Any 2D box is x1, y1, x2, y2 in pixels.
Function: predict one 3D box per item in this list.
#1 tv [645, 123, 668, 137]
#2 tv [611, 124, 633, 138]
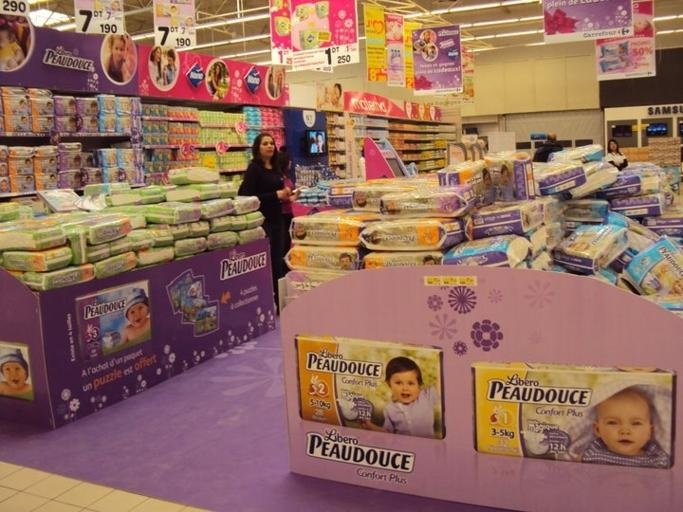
[{"bbox_3d":[11.701,-4.667,18.252,0.582,0.449,0.081,3,8,29],"label":"tv"},{"bbox_3d":[10.717,-4.752,18.774,0.462,0.348,0.067,4,10,29],"label":"tv"}]
